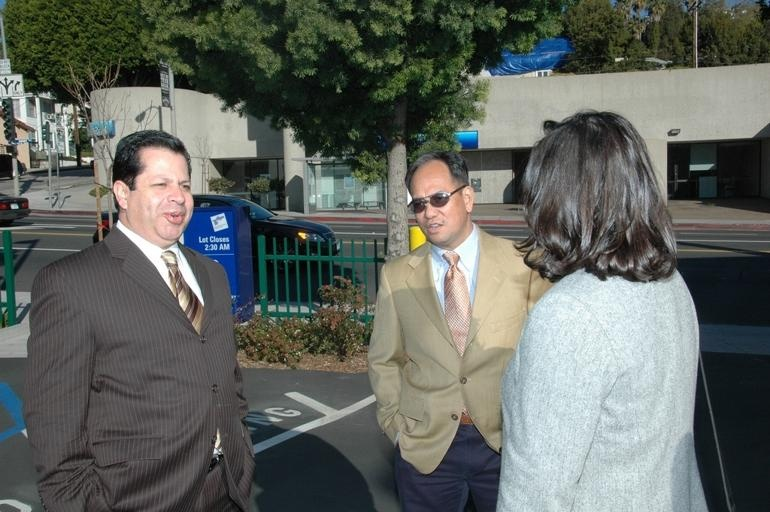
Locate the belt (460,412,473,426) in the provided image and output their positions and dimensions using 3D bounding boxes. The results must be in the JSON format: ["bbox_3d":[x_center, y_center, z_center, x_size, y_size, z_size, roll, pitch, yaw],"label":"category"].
[{"bbox_3d":[0.528,1.052,4.982,0.067,0.082,0.022,-4,-3,24],"label":"belt"}]

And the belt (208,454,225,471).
[{"bbox_3d":[-1.009,1.210,4.545,0.051,0.105,0.050,10,-9,-1],"label":"belt"}]

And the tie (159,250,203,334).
[{"bbox_3d":[-1.215,0.225,4.623,0.151,0.060,0.654,-1,48,-31],"label":"tie"}]
